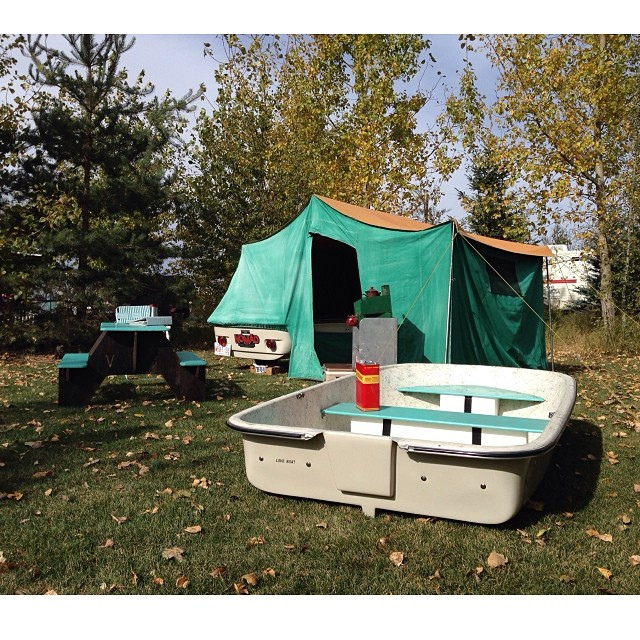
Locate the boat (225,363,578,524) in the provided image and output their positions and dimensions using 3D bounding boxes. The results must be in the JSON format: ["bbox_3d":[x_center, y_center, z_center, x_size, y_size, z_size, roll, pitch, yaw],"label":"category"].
[{"bbox_3d":[0.988,0.850,5.200,2.175,0.694,3.451,5,11,26],"label":"boat"}]

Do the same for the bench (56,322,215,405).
[{"bbox_3d":[-2.295,0.535,7.501,1.163,0.755,1.379,2,-3,-7],"label":"bench"}]
